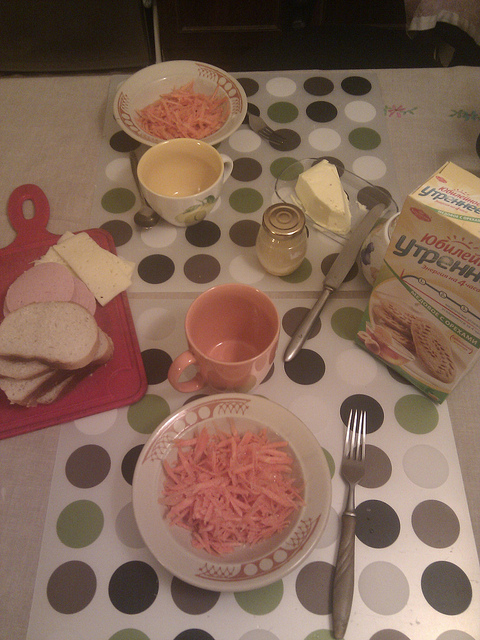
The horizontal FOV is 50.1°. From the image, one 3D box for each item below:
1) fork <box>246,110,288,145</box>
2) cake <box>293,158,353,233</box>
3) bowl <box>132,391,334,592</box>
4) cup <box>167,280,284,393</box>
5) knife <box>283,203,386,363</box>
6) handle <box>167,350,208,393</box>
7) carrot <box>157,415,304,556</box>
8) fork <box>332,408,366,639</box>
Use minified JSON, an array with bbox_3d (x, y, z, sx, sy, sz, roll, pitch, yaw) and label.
[{"bbox_3d":[0.060,-0.429,1.153,0.019,0.015,0.131,-35,52,-4],"label":"fork"},{"bbox_3d":[0.160,-0.234,1.011,0.095,0.052,0.147,-26,67,-4],"label":"cake"},{"bbox_3d":[-0.011,0.234,0.686,0.246,0.116,0.247,1,52,-1],"label":"bowl"},{"bbox_3d":[-0.023,0.038,0.767,0.154,0.138,0.131,0,51,-2],"label":"cup"},{"bbox_3d":[0.162,-0.056,0.887,0.039,0.019,0.365,29,60,11],"label":"knife"},{"bbox_3d":[-0.076,0.077,0.758,0.028,0.047,0.049,38,71,19],"label":"handle"},{"bbox_3d":[-0.010,0.220,0.680,0.149,0.064,0.159,-17,61,-13],"label":"carrot"},{"bbox_3d":[0.162,0.282,0.711,0.035,0.037,0.350,8,66,3],"label":"fork"}]
